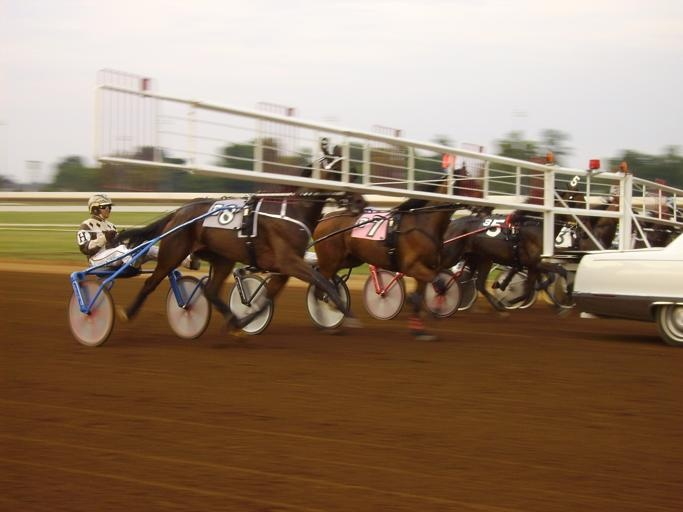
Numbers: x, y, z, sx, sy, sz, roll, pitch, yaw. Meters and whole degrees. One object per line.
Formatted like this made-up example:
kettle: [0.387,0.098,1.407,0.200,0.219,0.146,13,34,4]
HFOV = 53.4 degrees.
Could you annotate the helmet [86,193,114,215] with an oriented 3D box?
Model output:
helmet: [-2.749,-0.599,7.713,0.406,0.183,0.237,1,1,12]

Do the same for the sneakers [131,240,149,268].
sneakers: [-2.286,0.005,7.463,0.152,0.288,0.176,26,26,-14]

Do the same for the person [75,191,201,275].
person: [-2.200,-0.182,7.446,1.621,0.679,0.655,17,32,33]

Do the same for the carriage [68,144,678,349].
carriage: [0.475,0.000,8.243,7.624,1.629,2.023,-1,3,-2]
